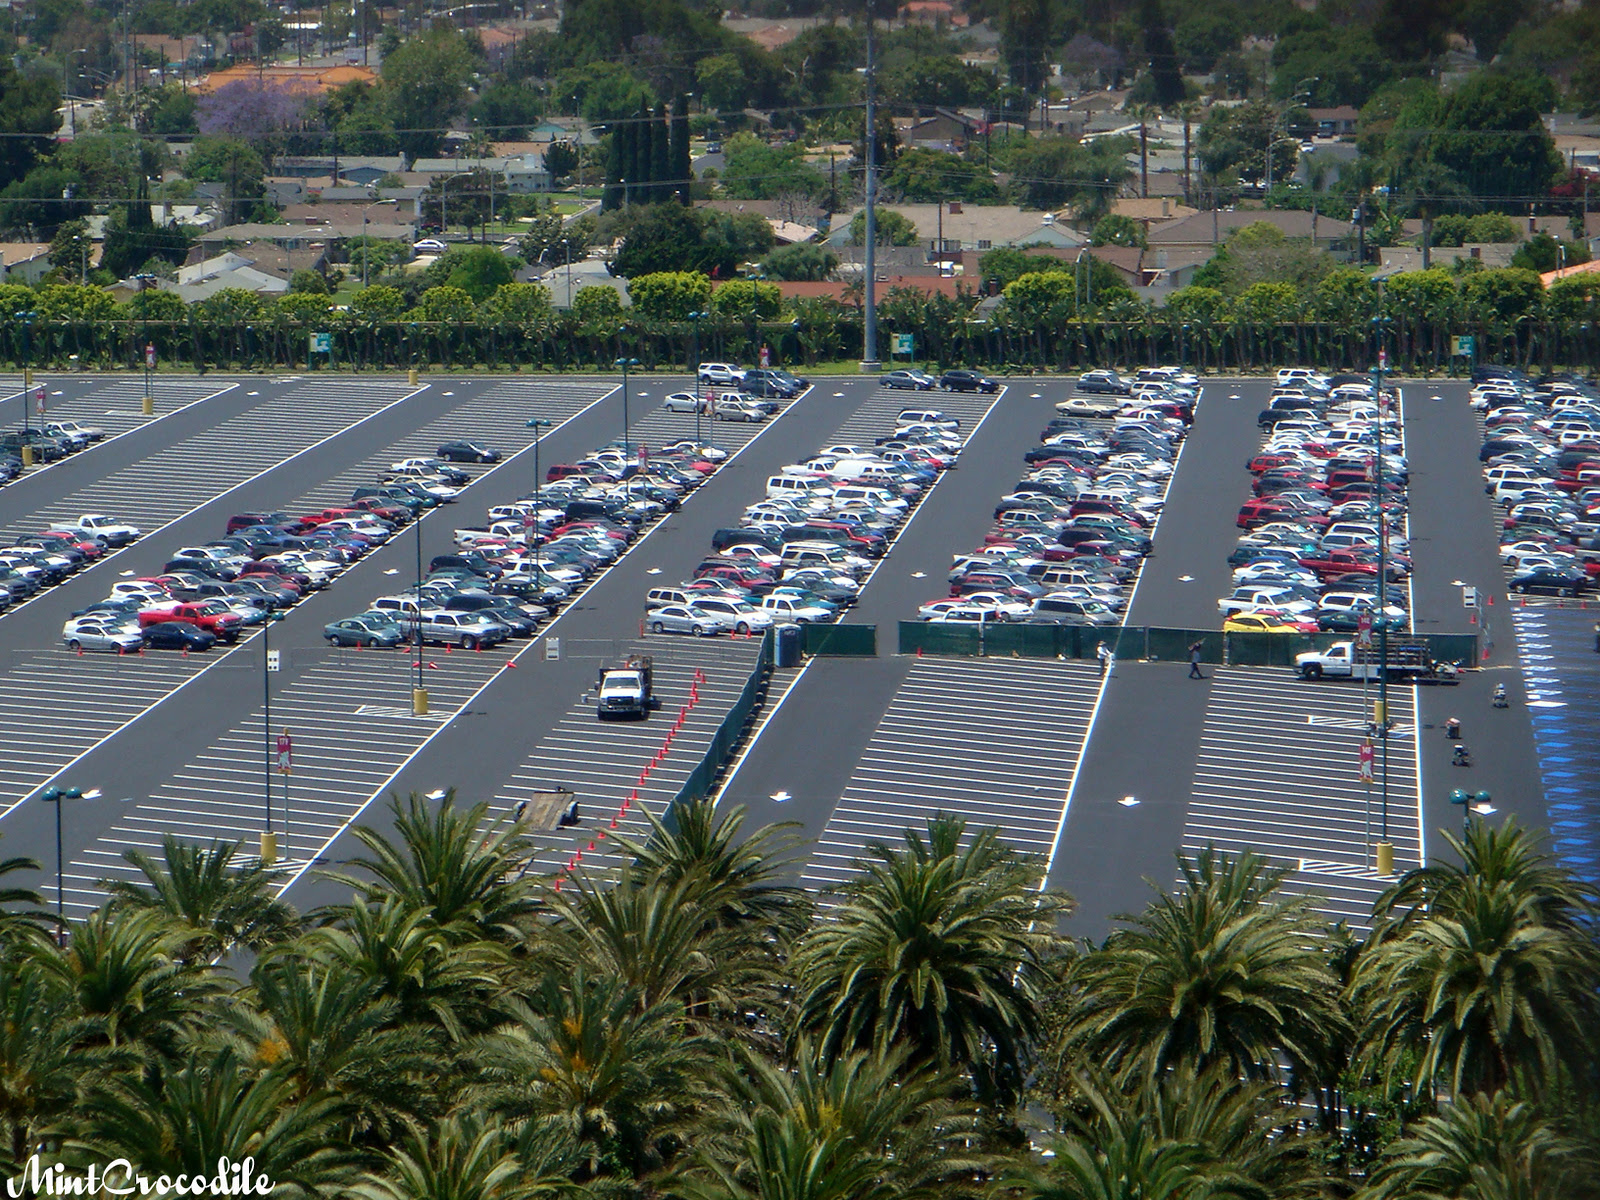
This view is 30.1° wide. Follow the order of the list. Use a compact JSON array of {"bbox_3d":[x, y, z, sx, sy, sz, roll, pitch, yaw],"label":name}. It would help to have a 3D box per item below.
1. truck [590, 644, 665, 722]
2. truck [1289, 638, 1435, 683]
[{"bbox_3d":[-7.556,3.675,129.509,2.357,2.138,5.488,-1,5,3],"label":"truck"},{"bbox_3d":[24.525,2.691,129.887,6.025,1.953,2.187,2,4,7],"label":"truck"}]
